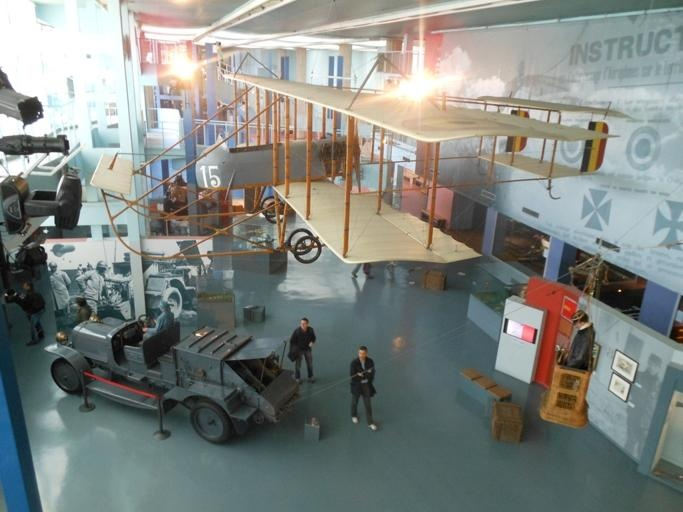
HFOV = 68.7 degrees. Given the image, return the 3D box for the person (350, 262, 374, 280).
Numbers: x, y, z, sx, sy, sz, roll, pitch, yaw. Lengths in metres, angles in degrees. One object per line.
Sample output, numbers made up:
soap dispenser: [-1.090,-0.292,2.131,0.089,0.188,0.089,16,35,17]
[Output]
person: [0.713,0.411,17.212,0.733,0.522,1.072,1,17,3]

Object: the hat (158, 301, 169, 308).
hat: [-4.550,1.243,12.775,0.156,0.140,0.124,17,25,-27]

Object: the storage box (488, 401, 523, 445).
storage box: [3.449,3.478,10.397,0.617,0.607,0.607,6,18,19]

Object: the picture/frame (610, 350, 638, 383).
picture/frame: [5.675,2.230,10.015,0.060,0.535,0.596,0,17,-19]

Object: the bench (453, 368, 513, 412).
bench: [3.165,3.083,11.351,0.667,0.502,1.210,-10,20,-31]

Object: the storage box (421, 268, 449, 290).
storage box: [3.042,0.837,16.448,0.774,0.519,0.450,4,17,10]

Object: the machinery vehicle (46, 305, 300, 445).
machinery vehicle: [-3.426,2.558,10.373,5.084,1.983,1.198,6,18,16]

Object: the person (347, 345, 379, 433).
person: [0.470,2.726,10.310,0.571,1.753,0.421,3,17,7]

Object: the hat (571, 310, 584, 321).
hat: [3.469,0.866,7.364,0.124,0.135,0.169,35,63,26]

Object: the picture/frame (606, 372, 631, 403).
picture/frame: [5.646,2.689,10.151,0.063,0.630,0.656,-7,8,-18]

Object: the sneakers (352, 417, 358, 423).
sneakers: [0.283,3.485,10.566,0.067,0.149,0.146,-3,7,-31]

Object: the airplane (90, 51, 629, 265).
airplane: [0.555,-2.579,13.950,9.302,3.601,8.565,-1,16,-21]

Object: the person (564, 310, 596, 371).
person: [3.547,1.245,7.376,0.381,0.873,0.561,10,19,28]
